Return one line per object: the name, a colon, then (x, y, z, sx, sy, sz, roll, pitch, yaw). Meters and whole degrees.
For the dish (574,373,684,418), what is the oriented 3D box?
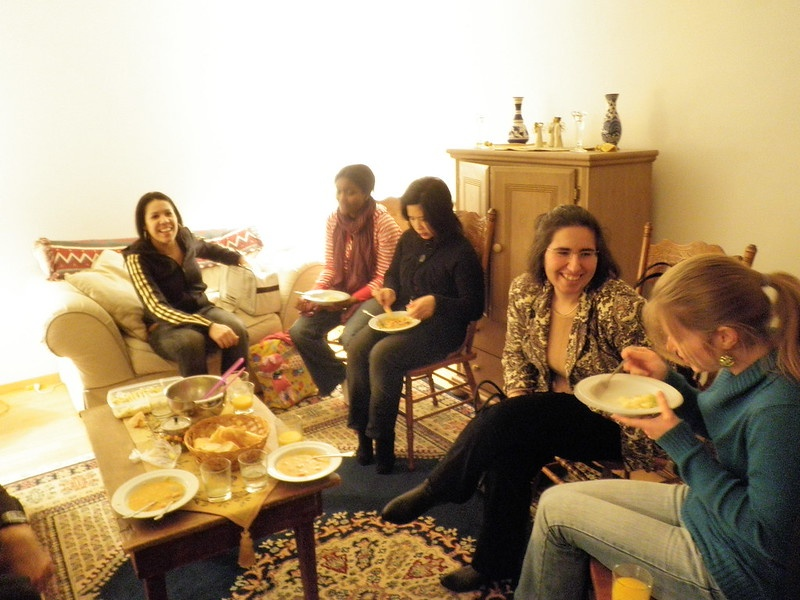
dish: (0.714, 0.330, 1.805, 0.285, 0.059, 0.302, 18, 16, 34)

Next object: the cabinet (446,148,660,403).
cabinet: (0.839, -0.236, 3.436, 0.756, 1.420, 0.965, -17, 25, -37)

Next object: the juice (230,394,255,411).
juice: (-0.652, 0.426, 2.293, 0.062, 0.054, 0.078, -1, 5, -7)

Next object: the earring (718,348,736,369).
earring: (0.884, 0.158, 1.504, 0.042, 0.041, 0.023, 41, 14, -3)

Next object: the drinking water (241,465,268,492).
drinking water: (-0.479, 0.592, 1.883, 0.086, 0.090, 0.087, 0, 7, 10)

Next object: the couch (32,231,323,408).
couch: (-1.365, 0.056, 3.888, 1.890, 1.054, 0.970, -10, 17, -32)

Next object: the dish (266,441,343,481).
dish: (-0.356, 0.566, 1.909, 0.261, 0.035, 0.257, 2, 16, 10)

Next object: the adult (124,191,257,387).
adult: (-1.257, 0.002, 3.464, 0.690, 1.323, 0.727, 15, 26, 25)

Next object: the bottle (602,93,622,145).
bottle: (1.136, -0.974, 2.987, 0.088, 0.269, 0.217, 0, 18, 19)

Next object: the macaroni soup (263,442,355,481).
macaroni soup: (-0.330, 0.564, 1.936, 0.186, 0.031, 0.149, -4, 15, 1)

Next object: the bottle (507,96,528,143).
bottle: (0.714, -1.092, 3.382, 0.111, 0.270, 0.341, -2, 17, 12)

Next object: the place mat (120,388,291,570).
place mat: (-0.686, 0.630, 1.941, 0.394, 0.175, 0.744, -5, 16, -26)

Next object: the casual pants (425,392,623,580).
casual pants: (0.395, 0.547, 2.091, 0.419, 0.335, 1.193, 9, 0, 41)

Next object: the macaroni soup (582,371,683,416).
macaroni soup: (0.748, 0.310, 1.834, 0.192, 0.045, 0.201, 1, 9, 16)

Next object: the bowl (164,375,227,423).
bowl: (-0.833, 0.396, 2.264, 0.201, 0.116, 0.193, 1, 22, 0)

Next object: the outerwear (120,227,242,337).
outerwear: (-1.428, -0.200, 3.406, 0.596, 0.505, 0.751, 6, 26, 31)

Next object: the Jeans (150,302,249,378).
Jeans: (-1.177, 0.267, 3.304, 0.393, 0.364, 0.463, 11, 23, 43)

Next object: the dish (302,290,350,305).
dish: (-0.445, -0.021, 3.303, 0.145, 0.029, 0.141, 4, 18, 5)

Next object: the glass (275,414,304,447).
glass: (-0.451, 0.513, 2.157, 0.112, 0.118, 0.109, 0, 11, 4)

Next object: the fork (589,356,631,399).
fork: (0.747, 0.278, 1.966, 0.027, 0.024, 0.168, 38, 73, 20)

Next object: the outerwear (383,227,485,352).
outerwear: (0.170, -0.061, 3.096, 0.412, 0.615, 0.663, -11, 19, -39)

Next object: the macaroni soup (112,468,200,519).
macaroni soup: (-0.800, 0.628, 1.794, 0.159, 0.037, 0.155, 2, 21, -2)

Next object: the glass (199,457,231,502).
glass: (-0.607, 0.604, 1.847, 0.119, 0.123, 0.120, 0, -10, -31)

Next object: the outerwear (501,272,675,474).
outerwear: (0.715, 0.186, 2.329, 0.635, 0.637, 0.346, 6, 43, 23)

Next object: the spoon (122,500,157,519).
spoon: (-0.801, 0.655, 1.723, 0.078, 0.021, 0.051, -9, 17, -14)

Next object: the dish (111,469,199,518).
dish: (-0.802, 0.638, 1.835, 0.303, 0.062, 0.301, -9, -8, -36)
